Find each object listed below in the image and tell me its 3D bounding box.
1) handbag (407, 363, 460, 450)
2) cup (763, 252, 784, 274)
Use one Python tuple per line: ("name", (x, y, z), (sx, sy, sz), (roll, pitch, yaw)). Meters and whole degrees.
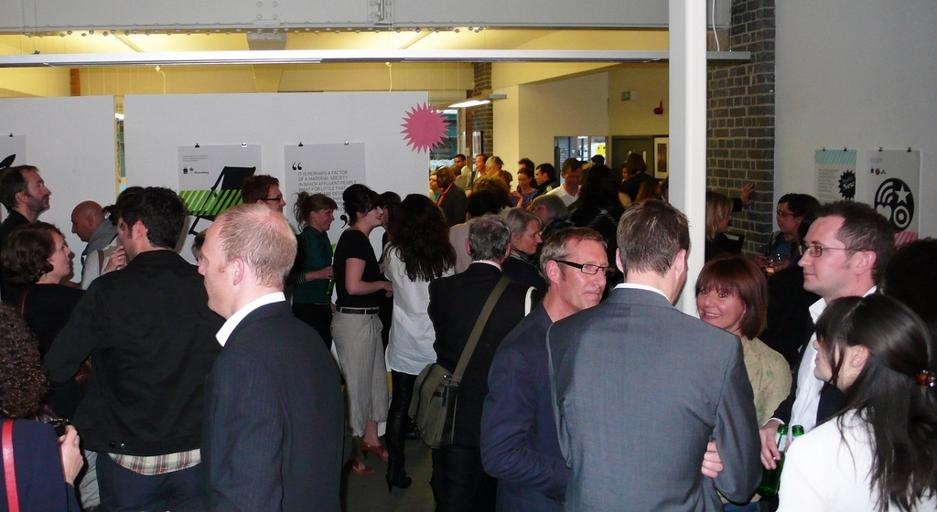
("handbag", (-0.259, 1.139, 5.291), (0.355, 0.586, 0.164), (4, 7, 29))
("cup", (3.152, 0.082, 7.124), (0.205, 0.167, 0.224), (1, -4, 0))
